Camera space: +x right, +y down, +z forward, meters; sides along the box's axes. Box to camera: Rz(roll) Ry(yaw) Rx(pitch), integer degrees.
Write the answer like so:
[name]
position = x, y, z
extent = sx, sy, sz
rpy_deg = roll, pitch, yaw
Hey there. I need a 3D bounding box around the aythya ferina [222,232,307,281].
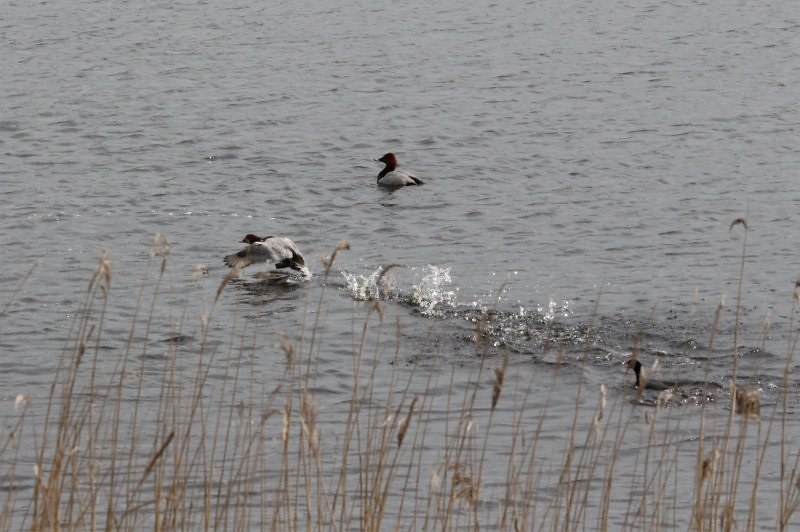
[aythya ferina]
position = -3.383, -0.165, 36.471
extent = 1.555, 1.542, 0.522
rpy_deg = 6, 98, 42
